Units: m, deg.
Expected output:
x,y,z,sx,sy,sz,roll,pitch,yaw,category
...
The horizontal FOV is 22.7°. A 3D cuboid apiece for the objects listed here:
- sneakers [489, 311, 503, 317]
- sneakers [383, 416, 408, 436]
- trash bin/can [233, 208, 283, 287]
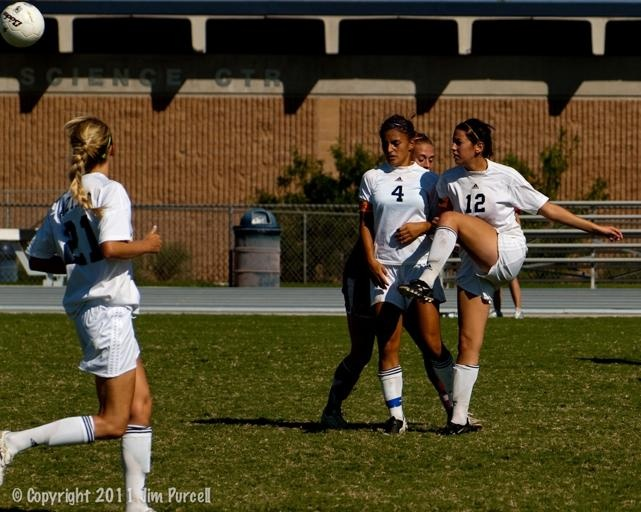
x,y,z,sx,sy,sz,roll,pitch,yaw,category
3.292,1.122,30.009,0.275,0.119,0.101,9,-1,-27,sneakers
1.102,2.538,23.695,0.173,0.200,0.415,6,8,36,sneakers
-1.403,-0.150,35.526,1.017,1.748,0.471,1,11,-4,trash bin/can
